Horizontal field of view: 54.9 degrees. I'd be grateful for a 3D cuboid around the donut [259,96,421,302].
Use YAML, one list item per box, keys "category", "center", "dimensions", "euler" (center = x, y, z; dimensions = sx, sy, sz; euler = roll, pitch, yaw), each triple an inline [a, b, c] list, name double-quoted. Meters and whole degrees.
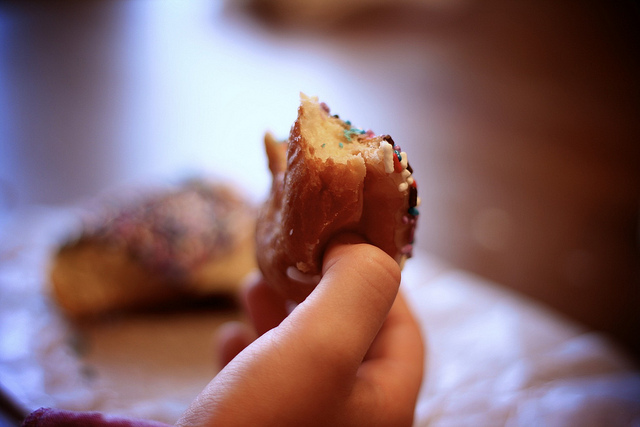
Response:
- category: "donut"
  center: [0.068, -0.002, 1.559]
  dimensions: [0.352, 0.528, 0.179]
  euler: [4, 31, 9]
